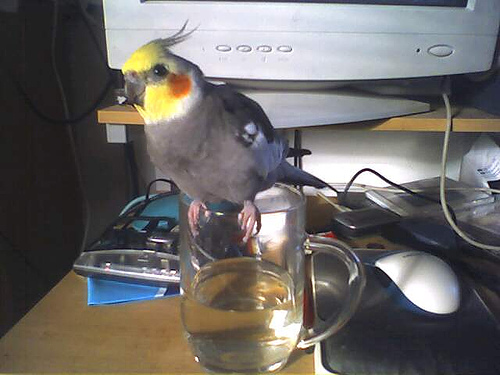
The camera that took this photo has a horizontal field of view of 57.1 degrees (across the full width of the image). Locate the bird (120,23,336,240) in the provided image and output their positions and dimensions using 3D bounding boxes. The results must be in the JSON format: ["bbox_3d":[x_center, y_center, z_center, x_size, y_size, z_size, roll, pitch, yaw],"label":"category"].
[{"bbox_3d":[-0.030,-0.061,0.597,0.156,0.227,0.330,1,12,37],"label":"bird"}]

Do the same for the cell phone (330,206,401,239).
[{"bbox_3d":[0.175,0.044,0.697,0.080,0.023,0.047,-7,19,-18],"label":"cell phone"}]

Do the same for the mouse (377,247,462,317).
[{"bbox_3d":[0.208,0.120,0.609,0.095,0.058,0.115,5,21,11],"label":"mouse"}]
